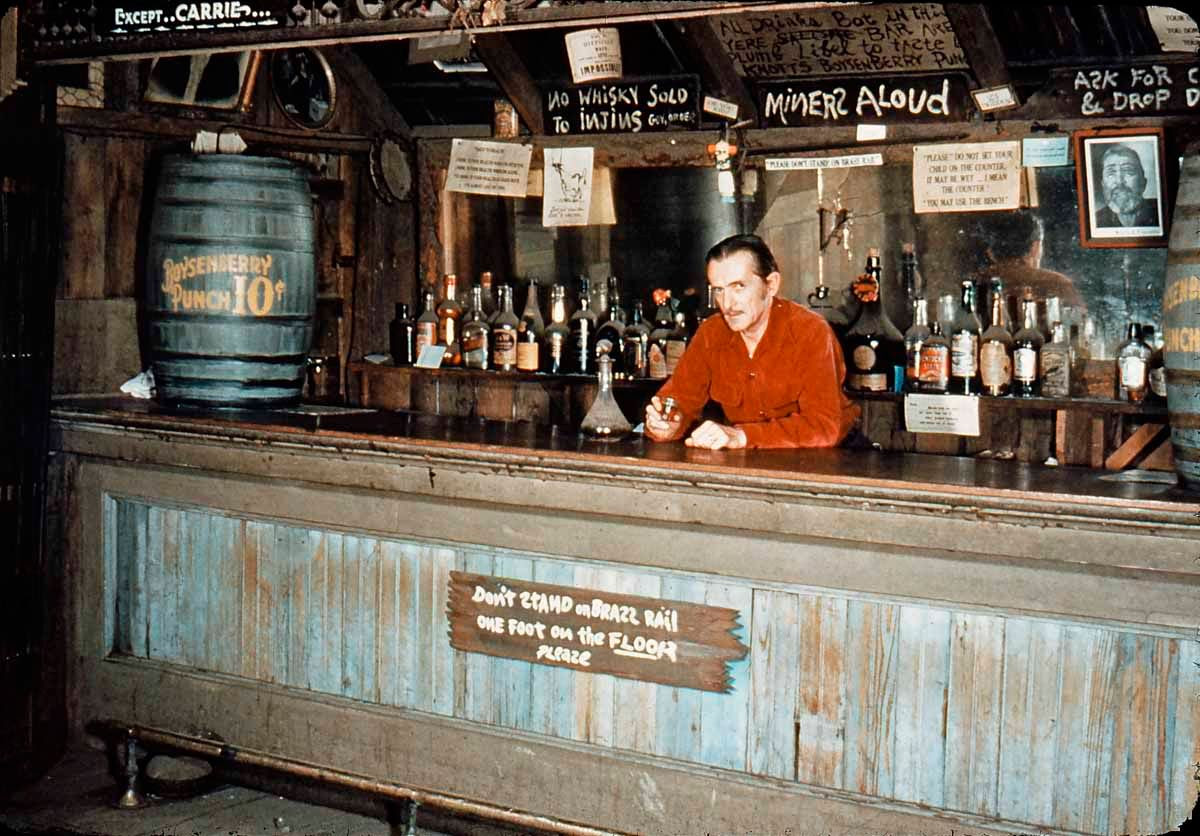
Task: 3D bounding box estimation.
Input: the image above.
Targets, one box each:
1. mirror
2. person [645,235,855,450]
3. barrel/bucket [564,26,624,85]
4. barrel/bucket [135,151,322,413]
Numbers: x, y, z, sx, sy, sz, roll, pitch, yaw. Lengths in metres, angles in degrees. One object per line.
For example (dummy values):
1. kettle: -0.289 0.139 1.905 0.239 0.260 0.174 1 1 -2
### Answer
1. mirror: 0.902 -0.634 5.430 3.224 1.200 0.447 0 -29 3
2. person: 0.623 -0.304 4.519 0.674 0.647 0.840 4 7 38
3. barrel/bucket: -0.022 -1.460 4.906 0.186 0.167 0.219 -1 3 2
4. barrel/bucket: -1.513 -0.557 4.986 0.674 0.999 0.697 2 4 0
